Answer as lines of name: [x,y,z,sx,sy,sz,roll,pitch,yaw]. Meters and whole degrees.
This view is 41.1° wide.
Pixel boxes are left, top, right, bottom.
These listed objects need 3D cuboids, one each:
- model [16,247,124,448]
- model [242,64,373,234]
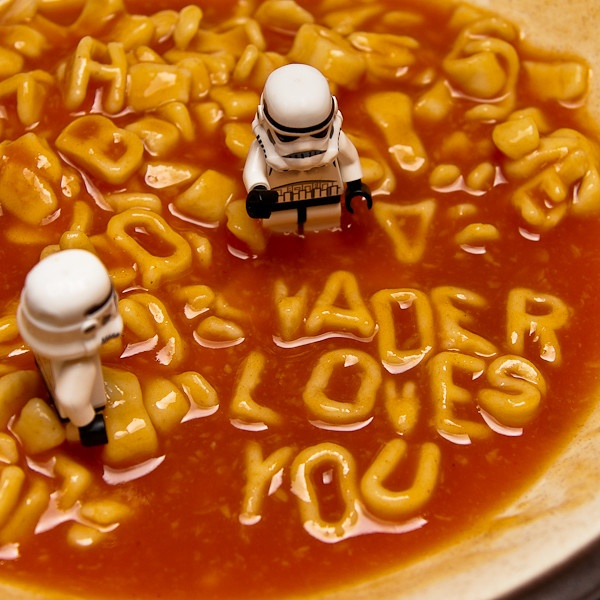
model: [-0.327,0.084,1.142,0.102,0.244,0.166,-15,60,-23]
model: [0.006,-0.248,1.431,0.224,0.345,0.212,-13,55,-9]
